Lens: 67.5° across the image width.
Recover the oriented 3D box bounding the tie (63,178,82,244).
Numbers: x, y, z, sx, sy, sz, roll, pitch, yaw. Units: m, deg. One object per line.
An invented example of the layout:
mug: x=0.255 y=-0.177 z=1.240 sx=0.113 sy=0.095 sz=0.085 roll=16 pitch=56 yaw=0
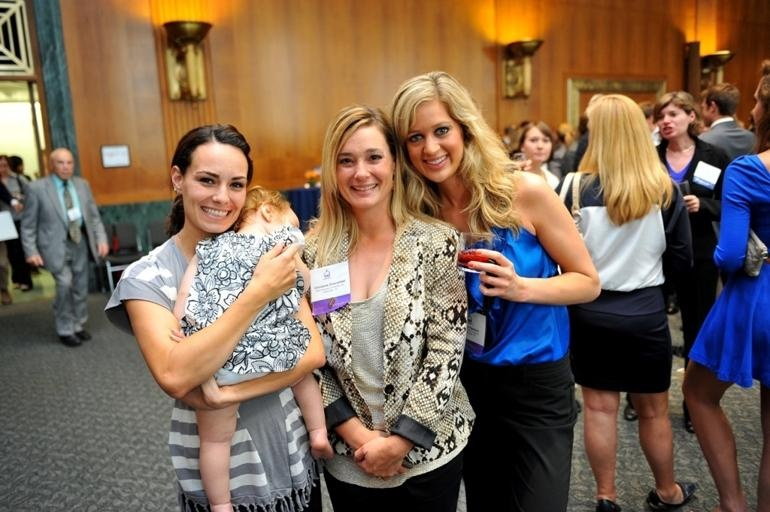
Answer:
tie: x=-3.579 y=-0.530 z=6.497 sx=0.069 sy=0.770 sz=0.181 roll=5 pitch=18 yaw=41

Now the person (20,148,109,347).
person: x=-3.538 y=-0.016 z=6.462 sx=0.670 sy=1.817 sz=0.833 roll=9 pitch=20 yaw=44

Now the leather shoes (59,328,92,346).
leather shoes: x=-3.510 y=0.900 z=6.418 sx=0.412 sy=0.179 sz=0.139 roll=-4 pitch=3 yaw=42

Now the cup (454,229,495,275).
cup: x=0.435 y=-0.023 z=2.808 sx=0.182 sy=0.195 sz=0.169 roll=-1 pitch=14 yaw=0

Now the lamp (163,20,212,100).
lamp: x=-3.035 y=-2.965 z=8.715 sx=0.701 sy=1.102 sz=0.350 roll=-9 pitch=15 yaw=-17

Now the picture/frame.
picture/frame: x=5.266 y=-3.009 z=12.953 sx=2.986 sy=1.980 sz=0.131 roll=-6 pitch=8 yaw=-22

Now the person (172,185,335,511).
person: x=-0.660 y=0.373 z=2.814 sx=0.597 sy=1.491 sz=0.571 roll=-3 pitch=-15 yaw=-5
